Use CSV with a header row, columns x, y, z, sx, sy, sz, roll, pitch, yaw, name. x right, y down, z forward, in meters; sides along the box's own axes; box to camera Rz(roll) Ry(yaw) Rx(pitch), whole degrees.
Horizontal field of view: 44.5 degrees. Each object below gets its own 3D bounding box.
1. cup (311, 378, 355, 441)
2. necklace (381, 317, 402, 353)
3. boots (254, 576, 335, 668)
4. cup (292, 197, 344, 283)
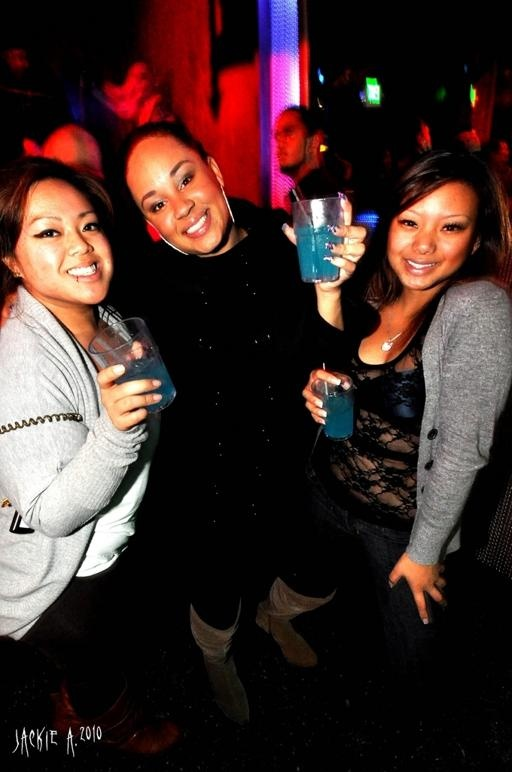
x,y,z,sx,sy,sz,roll,pitch,yaw,name
0.280,0.070,2.171,0.122,0.204,0.207,-13,27,-11,cup
0.504,-0.184,2.253,0.035,0.033,0.134,30,75,39,necklace
0.132,0.932,2.731,0.365,0.104,0.273,-4,10,38,boots
0.207,-0.471,2.076,0.169,0.290,0.114,-1,35,6,cup
